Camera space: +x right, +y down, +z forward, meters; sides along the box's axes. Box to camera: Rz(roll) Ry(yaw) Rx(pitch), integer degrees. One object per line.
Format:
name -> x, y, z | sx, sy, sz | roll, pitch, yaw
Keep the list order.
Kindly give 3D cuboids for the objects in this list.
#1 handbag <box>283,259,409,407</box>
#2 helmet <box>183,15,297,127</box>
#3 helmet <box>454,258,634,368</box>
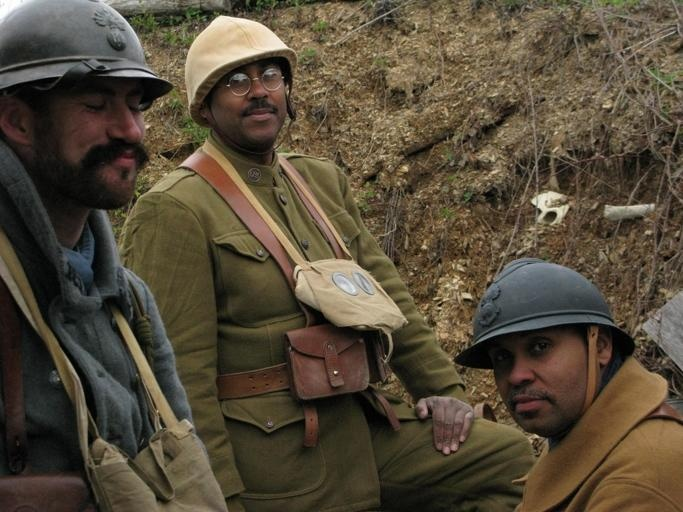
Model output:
handbag -> -0.073, 0.425, 5.660 | 0.608, 0.695, 0.224 | -26, -14, -50
helmet -> -0.683, -1.125, 5.974 | 0.504, 0.494, 0.605 | -22, 9, -29
helmet -> 0.920, 0.242, 4.874 | 0.580, 0.357, 0.503 | -8, -7, -15
